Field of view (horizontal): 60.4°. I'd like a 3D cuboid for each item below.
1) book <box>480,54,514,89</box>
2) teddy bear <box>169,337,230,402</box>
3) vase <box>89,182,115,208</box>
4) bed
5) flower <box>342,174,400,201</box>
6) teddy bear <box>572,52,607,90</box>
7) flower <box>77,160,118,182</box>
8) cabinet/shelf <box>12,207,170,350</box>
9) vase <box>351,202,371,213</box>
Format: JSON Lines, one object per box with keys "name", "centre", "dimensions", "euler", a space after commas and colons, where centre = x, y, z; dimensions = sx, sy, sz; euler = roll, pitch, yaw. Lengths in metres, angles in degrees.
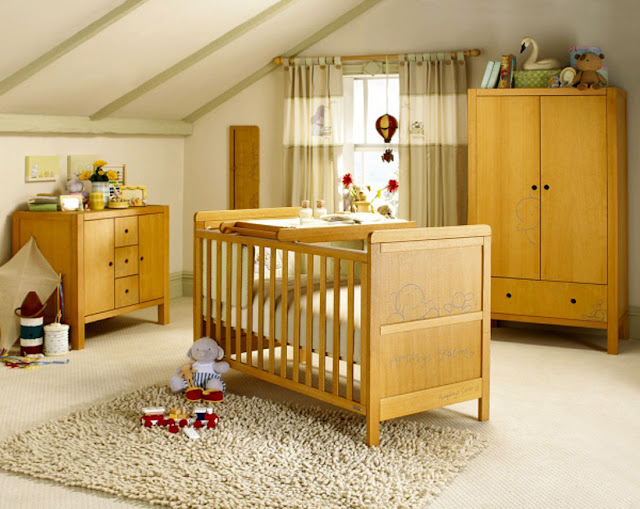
{"name": "book", "centre": [1.350, -1.338, 4.101], "dimensions": [0.188, 0.205, 0.233], "euler": [-7, 18, -40]}
{"name": "teddy bear", "centre": [-0.628, 0.620, 3.013], "dimensions": [0.309, 0.344, 0.285], "euler": [-2, -11, 20]}
{"name": "vase", "centre": [-1.641, -0.443, 4.129], "dimensions": [0.143, 0.200, 0.214], "euler": [-2, 8, -22]}
{"name": "bed", "centre": [0.041, 0.277, 3.145], "dimensions": [0.912, 1.003, 1.547], "euler": [-3, 5, -39]}
{"name": "flower", "centre": [0.396, -0.527, 4.492], "dimensions": [0.533, 0.250, 0.234], "euler": [1, 1, 9]}
{"name": "teddy bear", "centre": [1.854, -1.268, 3.793], "dimensions": [0.201, 0.260, 0.173], "euler": [0, 19, 22]}
{"name": "flower", "centre": [-1.683, -0.616, 4.275], "dimensions": [0.218, 0.177, 0.278], "euler": [-3, 0, 0]}
{"name": "cabinet/shelf", "centre": [-1.663, 0.134, 4.266], "dimensions": [0.505, 0.931, 0.958], "euler": [3, 6, 23]}
{"name": "vase", "centre": [0.304, -0.341, 4.005], "dimensions": [0.084, 0.089, 0.091], "euler": [0, 1, 26]}
